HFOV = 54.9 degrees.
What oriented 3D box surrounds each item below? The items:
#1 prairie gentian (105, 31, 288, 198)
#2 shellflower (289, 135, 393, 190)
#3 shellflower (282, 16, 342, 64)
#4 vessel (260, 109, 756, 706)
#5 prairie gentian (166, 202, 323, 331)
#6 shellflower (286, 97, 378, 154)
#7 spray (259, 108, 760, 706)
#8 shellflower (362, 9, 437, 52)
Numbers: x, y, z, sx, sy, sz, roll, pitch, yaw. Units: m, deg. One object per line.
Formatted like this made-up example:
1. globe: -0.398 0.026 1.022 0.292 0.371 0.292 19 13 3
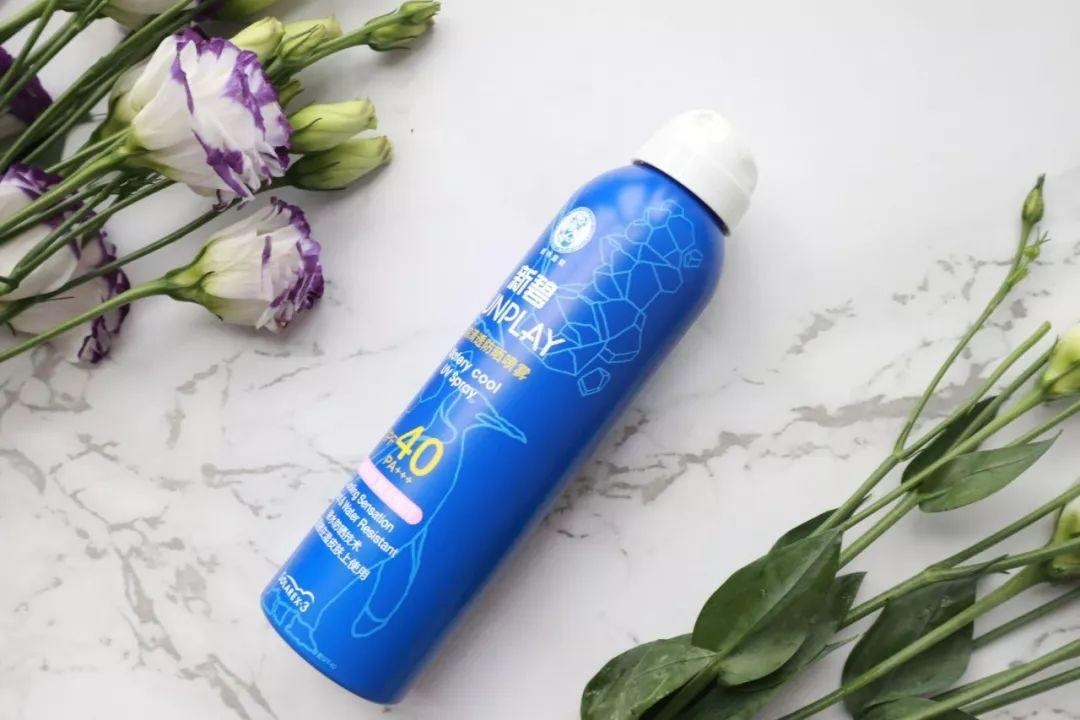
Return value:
1. prairie gentian: -0.303 -0.199 0.933 0.129 0.161 0.142 -22 62 -23
2. shellflower: -0.192 -0.192 1.000 0.113 0.041 0.044 -21 96 2
3. shellflower: -0.216 -0.303 0.964 0.060 0.029 0.038 -26 81 2
4. vessel: -0.017 0.019 1.003 0.180 0.184 0.687 36 105 5
5. prairie gentian: -0.267 -0.084 1.015 0.135 0.094 0.101 -25 16 5
6. shellflower: -0.198 -0.224 0.970 0.051 0.051 0.068 -4 21 -8
7. spray: -0.010 0.040 1.011 0.177 0.188 0.680 35 91 31
8. shellflower: -0.136 -0.322 0.997 0.062 0.040 0.026 -10 46 4
